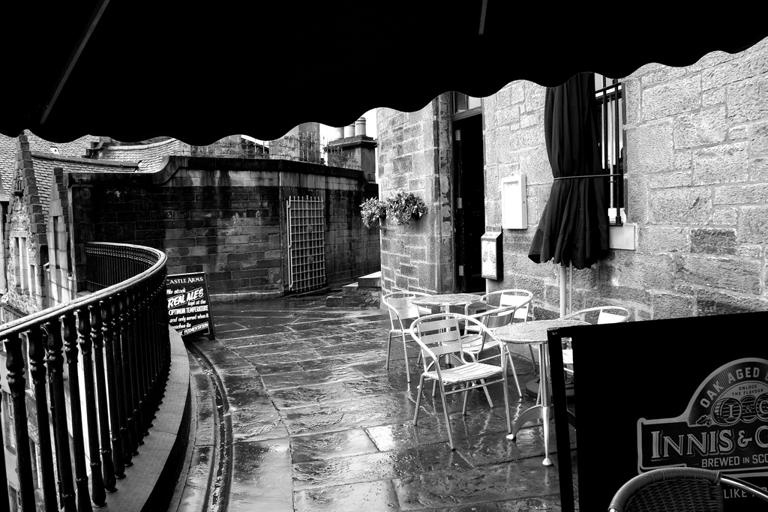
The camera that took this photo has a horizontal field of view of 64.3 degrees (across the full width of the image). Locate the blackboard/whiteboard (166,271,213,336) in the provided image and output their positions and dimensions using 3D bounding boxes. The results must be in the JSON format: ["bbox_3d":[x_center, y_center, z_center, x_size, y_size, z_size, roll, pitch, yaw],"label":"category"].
[{"bbox_3d":[-3.163,0.796,9.923,0.658,1.031,0.612,-6,8,-22],"label":"blackboard/whiteboard"}]

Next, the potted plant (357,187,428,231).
[{"bbox_3d":[0.150,-0.844,10.839,0.622,0.628,1.705,-5,7,-19],"label":"potted plant"}]
